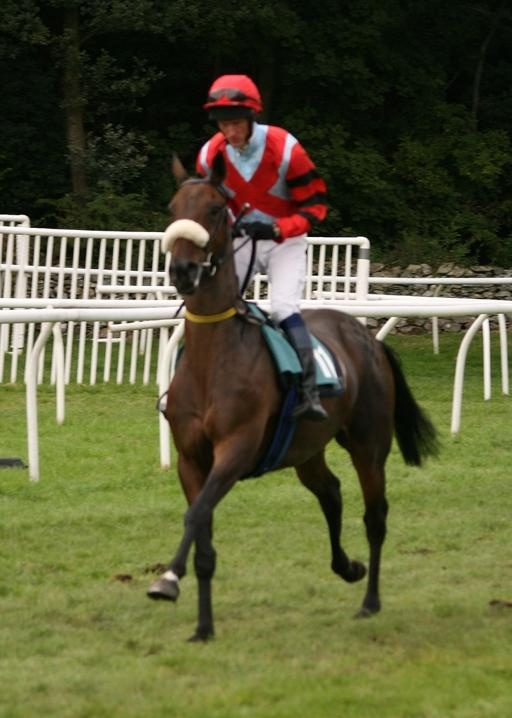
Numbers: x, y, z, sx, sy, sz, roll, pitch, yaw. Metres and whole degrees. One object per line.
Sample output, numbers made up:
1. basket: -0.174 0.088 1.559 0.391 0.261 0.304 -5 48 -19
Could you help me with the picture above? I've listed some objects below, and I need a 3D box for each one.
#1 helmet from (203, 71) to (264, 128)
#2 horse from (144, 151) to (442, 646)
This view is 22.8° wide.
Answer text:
1. helmet: -0.073 -0.869 4.206 0.181 0.149 0.215 0 12 -2
2. horse: 0.119 0.112 4.316 0.576 1.596 1.417 7 14 28
